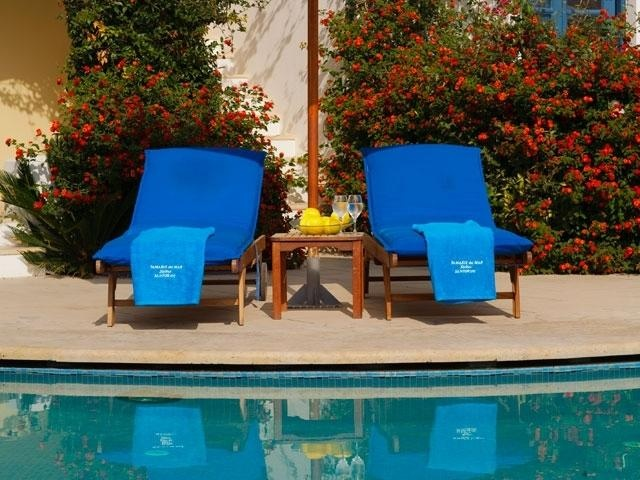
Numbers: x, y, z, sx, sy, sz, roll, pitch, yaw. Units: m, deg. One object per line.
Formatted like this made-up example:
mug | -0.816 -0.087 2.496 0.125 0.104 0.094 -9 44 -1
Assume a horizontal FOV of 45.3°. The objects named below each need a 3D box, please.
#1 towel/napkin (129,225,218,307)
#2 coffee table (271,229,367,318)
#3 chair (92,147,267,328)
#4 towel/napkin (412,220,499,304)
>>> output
towel/napkin | -1.179 0.177 5.890 0.535 0.597 0.222 -3 -9 -1
coffee table | -0.027 0.303 6.689 0.814 0.743 0.714 -2 1 3
chair | -1.084 -0.063 6.490 1.093 1.506 1.736 -1 5 1
towel/napkin | 1.105 0.177 6.082 0.561 0.626 0.214 1 -1 -7
